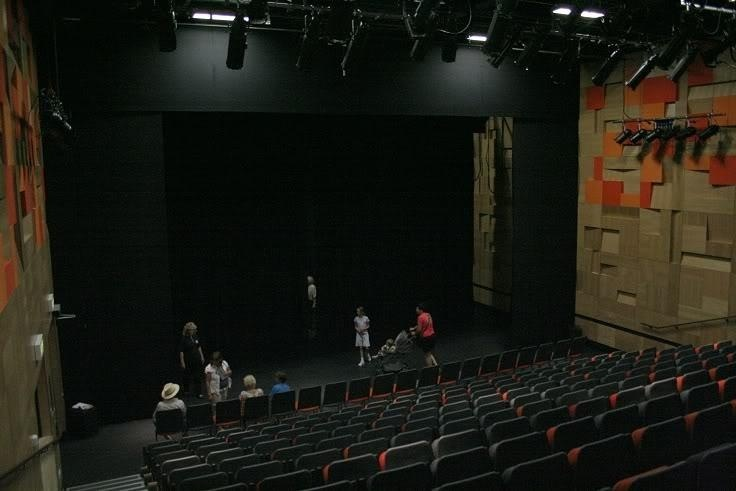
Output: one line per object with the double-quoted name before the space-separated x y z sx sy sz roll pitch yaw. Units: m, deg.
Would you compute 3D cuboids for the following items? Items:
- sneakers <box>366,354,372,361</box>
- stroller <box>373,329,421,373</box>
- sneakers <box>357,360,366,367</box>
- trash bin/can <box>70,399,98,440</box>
"sneakers" 0.040 3.103 15.467 0.135 0.196 0.143 -6 -3 2
"stroller" 0.642 2.824 15.021 1.012 0.596 1.244 -3 2 -19
"sneakers" -0.172 3.238 15.343 0.104 0.213 0.214 0 9 -18
"trash bin/can" -6.276 3.806 12.182 0.649 0.801 0.398 -16 -16 15
